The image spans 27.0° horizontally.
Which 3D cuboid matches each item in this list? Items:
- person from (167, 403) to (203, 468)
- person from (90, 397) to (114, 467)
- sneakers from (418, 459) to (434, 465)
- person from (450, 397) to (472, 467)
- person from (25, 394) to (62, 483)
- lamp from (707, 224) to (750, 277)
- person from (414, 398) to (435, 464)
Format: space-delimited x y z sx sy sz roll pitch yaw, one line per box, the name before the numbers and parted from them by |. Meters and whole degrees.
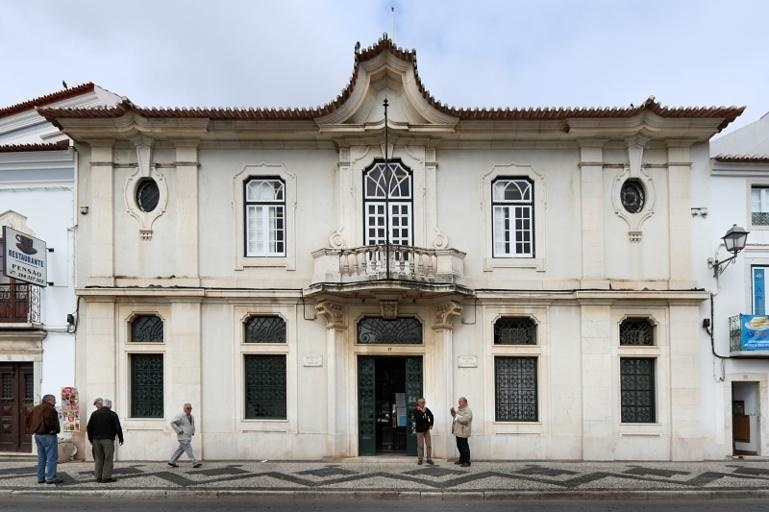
person | -6.778 6.121 54.690 1.053 2.187 1.278 2 -11 -8
person | -9.305 6.093 53.128 1.095 2.758 0.608 2 -11 -9
sneakers | 1.378 7.046 54.881 0.602 0.191 0.254 10 -12 -37
person | 2.603 6.023 54.893 0.703 2.382 1.003 0 -11 2
person | -11.229 6.047 53.147 1.012 2.962 0.844 3 -11 -11
lamp | 11.847 -0.320 55.694 1.276 1.843 1.153 0 -11 5
person | 1.326 6.023 55.017 0.650 2.260 0.961 0 -11 4
